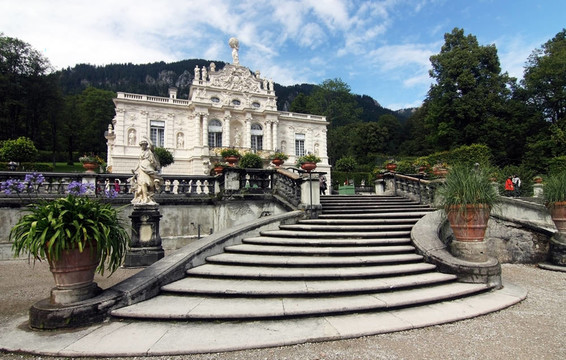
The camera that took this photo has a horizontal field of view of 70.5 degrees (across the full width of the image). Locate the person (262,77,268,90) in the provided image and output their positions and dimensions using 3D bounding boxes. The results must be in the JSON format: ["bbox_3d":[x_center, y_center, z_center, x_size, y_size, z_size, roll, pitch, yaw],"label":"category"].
[{"bbox_3d":[-1.941,-10.243,43.202,0.365,1.230,1.285,-1,1,-10],"label":"person"}]

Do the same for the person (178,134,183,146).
[{"bbox_3d":[-9.669,-3.800,37.615,0.568,1.206,0.231,-1,1,-15],"label":"person"}]

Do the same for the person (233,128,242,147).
[{"bbox_3d":[-4.525,-4.261,39.879,0.756,1.919,1.275,-1,1,0],"label":"person"}]

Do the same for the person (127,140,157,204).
[{"bbox_3d":[-5.122,-0.311,14.816,0.989,2.454,0.443,-1,1,-16],"label":"person"}]

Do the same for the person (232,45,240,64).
[{"bbox_3d":[-4.970,-12.911,41.649,0.502,1.888,0.800,-1,1,-21],"label":"person"}]
